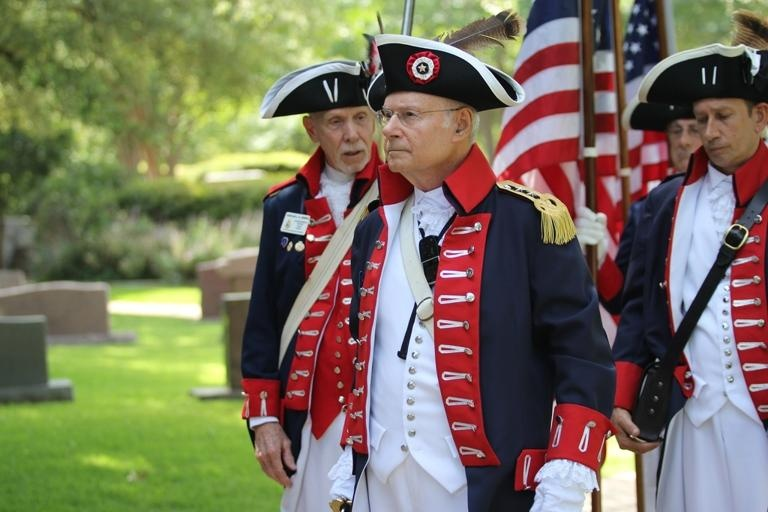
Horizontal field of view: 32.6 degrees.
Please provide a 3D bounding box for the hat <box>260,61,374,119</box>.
[{"bbox_3d":[-0.432,-1.067,8.361,0.546,0.202,0.412,-8,8,2],"label":"hat"}]

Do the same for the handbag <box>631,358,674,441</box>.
[{"bbox_3d":[1.604,0.861,7.900,0.157,0.448,0.264,15,-4,0],"label":"handbag"}]

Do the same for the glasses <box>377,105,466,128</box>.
[{"bbox_3d":[0.168,-0.785,7.263,0.259,0.060,0.192,-11,2,-6],"label":"glasses"}]

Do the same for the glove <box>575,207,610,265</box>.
[{"bbox_3d":[1.424,-0.150,9.075,0.331,0.420,0.167,8,8,8],"label":"glove"}]

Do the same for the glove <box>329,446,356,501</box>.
[{"bbox_3d":[-0.214,1.249,7.505,0.181,0.275,0.141,-4,-11,34],"label":"glove"}]
